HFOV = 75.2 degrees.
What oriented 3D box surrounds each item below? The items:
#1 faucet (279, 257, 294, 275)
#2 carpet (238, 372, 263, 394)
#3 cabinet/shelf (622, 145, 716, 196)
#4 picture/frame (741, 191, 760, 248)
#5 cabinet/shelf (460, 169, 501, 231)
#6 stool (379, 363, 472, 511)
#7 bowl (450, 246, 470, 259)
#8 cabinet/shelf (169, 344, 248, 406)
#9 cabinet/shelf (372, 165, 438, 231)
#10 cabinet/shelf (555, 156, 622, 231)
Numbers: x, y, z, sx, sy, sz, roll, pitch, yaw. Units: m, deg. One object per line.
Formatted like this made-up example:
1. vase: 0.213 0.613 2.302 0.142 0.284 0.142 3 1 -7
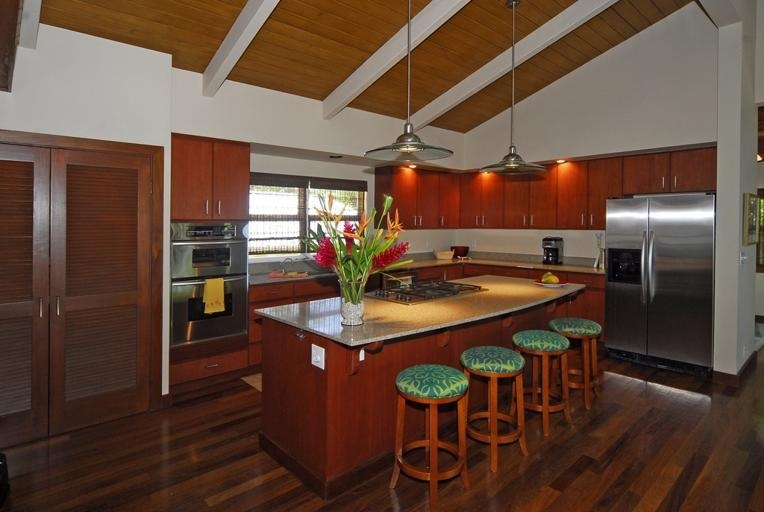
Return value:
1. faucet: -1.317 0.127 6.784 0.171 0.226 0.232 3 8 20
2. carpet: -1.497 1.448 5.629 0.181 0.004 0.432 -3 8 -34
3. cabinet/shelf: 3.632 -1.089 6.197 0.253 0.426 0.705 -1 3 -40
4. picture/frame: 4.371 -0.449 5.898 0.112 0.814 0.681 -2 0 42
5. cabinet/shelf: 1.591 -0.908 7.887 0.843 1.019 0.349 6 8 41
6. stool: 0.433 1.465 4.292 0.693 1.078 0.748 -2 5 25
7. bowl: 1.323 -0.072 8.439 0.219 0.146 0.223 0 -5 0
8. cabinet/shelf: -1.946 1.326 5.641 0.947 0.287 0.350 -7 6 -30
9. cabinet/shelf: 0.309 -0.887 7.251 1.090 0.968 0.410 -2 5 -37
10. cabinet/shelf: 2.886 -0.884 6.841 1.024 1.230 0.417 1 2 40
